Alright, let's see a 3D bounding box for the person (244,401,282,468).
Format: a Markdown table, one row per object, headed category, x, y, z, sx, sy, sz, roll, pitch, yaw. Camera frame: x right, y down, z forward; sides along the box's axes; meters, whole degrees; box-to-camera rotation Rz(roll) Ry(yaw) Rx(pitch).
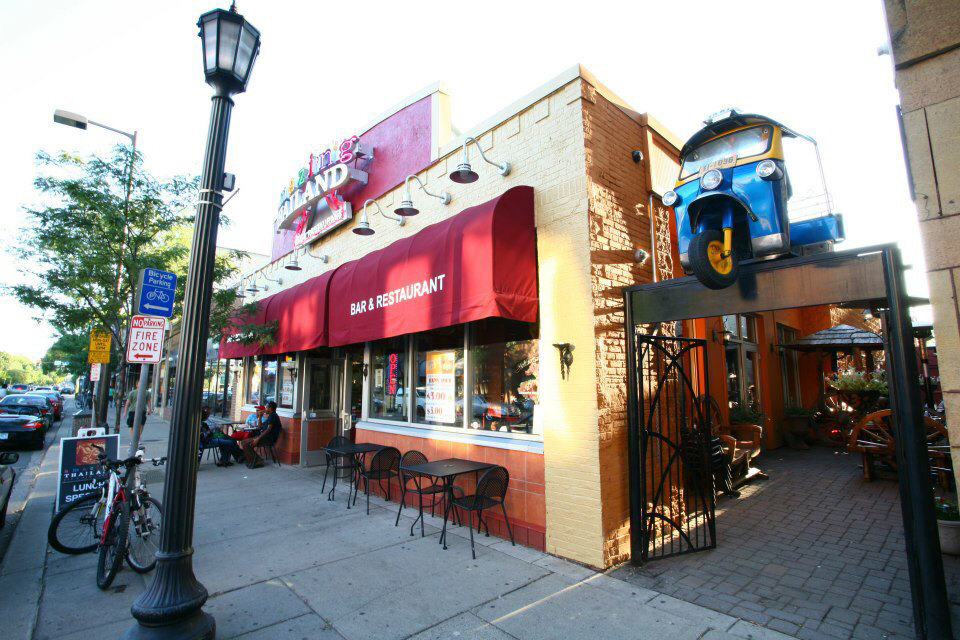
| category | x | y | z | sx | sy | sz | roll | pitch | yaw |
| --- | --- | --- | --- | --- | --- | --- | --- | --- | --- |
| person | -5.469 | 2.794 | 15.606 | 0.816 | 1.549 | 0.631 | 3 | 4 | -7 |
